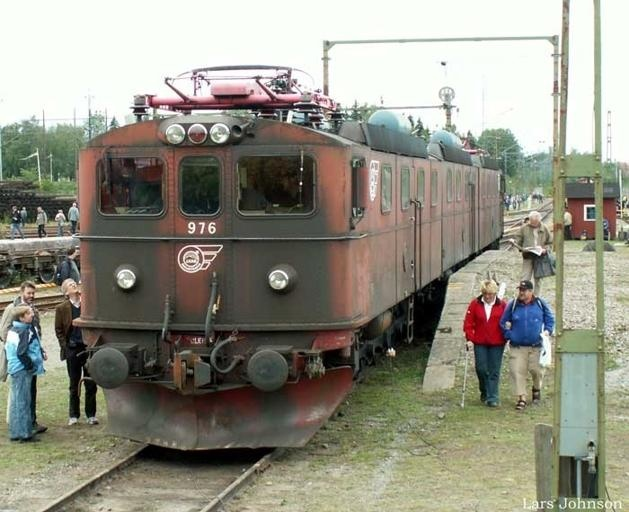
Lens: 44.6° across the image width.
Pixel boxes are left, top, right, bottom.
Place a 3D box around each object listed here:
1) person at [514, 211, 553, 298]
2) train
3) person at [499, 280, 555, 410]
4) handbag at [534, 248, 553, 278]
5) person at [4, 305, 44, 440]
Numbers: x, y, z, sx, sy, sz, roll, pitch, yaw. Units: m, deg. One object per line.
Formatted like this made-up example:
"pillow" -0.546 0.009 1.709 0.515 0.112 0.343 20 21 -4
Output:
"person" 4.036 0.073 14.231 0.877 1.792 0.647 -3 12 -10
"train" -0.216 -0.380 11.274 3.135 5.079 6.959 1 6 21
"person" 3.015 1.235 10.607 0.663 1.805 0.748 -6 7 -44
"handbag" 4.207 0.141 14.101 0.438 0.627 0.243 0 10 5
"person" -3.664 1.474 9.660 0.446 1.709 0.286 -3 6 -23
